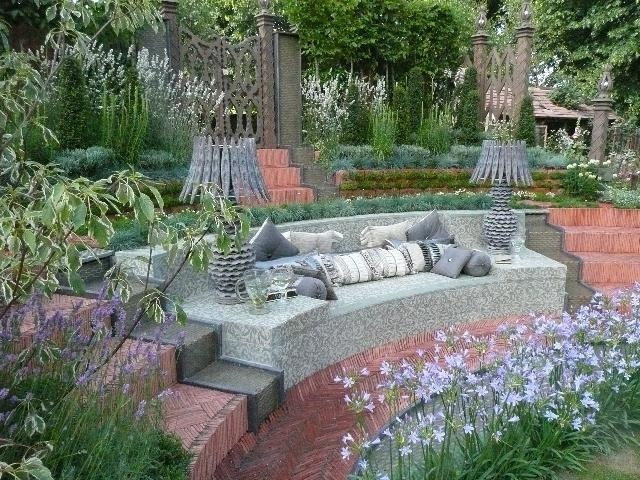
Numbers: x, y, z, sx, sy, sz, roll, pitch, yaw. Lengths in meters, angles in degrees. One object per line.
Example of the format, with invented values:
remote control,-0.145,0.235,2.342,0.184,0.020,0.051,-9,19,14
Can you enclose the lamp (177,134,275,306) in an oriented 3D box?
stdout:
lamp,-0.666,-0.174,3.741,0.636,1.246,1.021,-10,8,-16

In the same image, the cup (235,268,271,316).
cup,-0.510,0.358,3.539,0.307,0.361,0.210,1,6,37

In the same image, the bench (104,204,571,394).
bench,0.569,0.518,4.409,3.486,1.210,0.947,-16,11,-33
